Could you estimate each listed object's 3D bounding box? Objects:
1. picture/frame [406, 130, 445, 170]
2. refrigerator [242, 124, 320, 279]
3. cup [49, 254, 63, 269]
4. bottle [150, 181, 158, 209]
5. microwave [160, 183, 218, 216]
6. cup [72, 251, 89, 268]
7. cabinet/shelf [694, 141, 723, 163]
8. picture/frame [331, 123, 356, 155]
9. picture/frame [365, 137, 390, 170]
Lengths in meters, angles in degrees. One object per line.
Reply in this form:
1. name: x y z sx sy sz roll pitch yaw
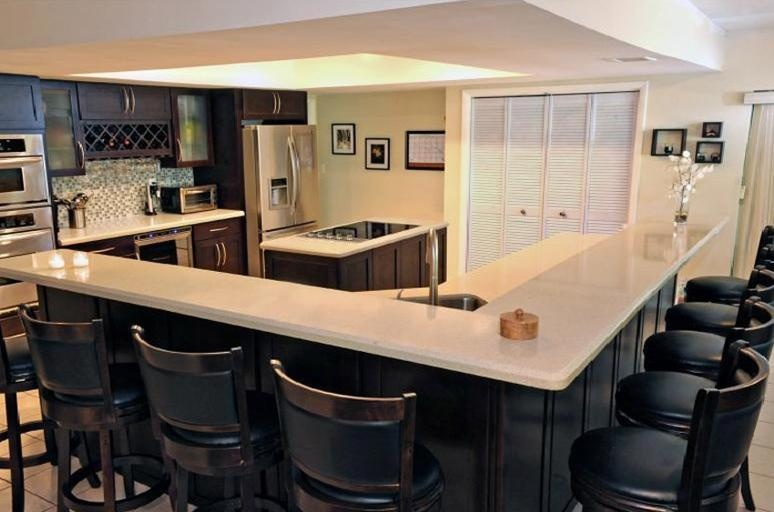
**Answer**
1. picture/frame: 0.555 -1.479 7.812 0.615 0.480 0.027 8 20 29
2. refrigerator: -1.337 -0.735 7.221 0.318 1.825 1.062 11 21 43
3. cup: -2.143 0.038 3.669 0.077 0.069 0.074 1 12 0
4. bottle: -2.782 -0.732 6.834 0.103 0.329 0.195 -8 16 -17
5. microwave: -2.369 -0.688 6.834 0.686 0.319 0.395 -8 15 -20
6. cup: -2.027 0.025 3.745 0.103 0.091 0.099 -1 10 0
7. cabinet/shelf: 3.484 -1.126 6.110 0.241 0.218 0.082 6 11 39
8. picture/frame: -0.626 -1.758 8.422 0.471 0.499 0.028 8 16 25
9. picture/frame: -0.116 -1.494 8.187 0.480 0.520 0.021 6 11 27
